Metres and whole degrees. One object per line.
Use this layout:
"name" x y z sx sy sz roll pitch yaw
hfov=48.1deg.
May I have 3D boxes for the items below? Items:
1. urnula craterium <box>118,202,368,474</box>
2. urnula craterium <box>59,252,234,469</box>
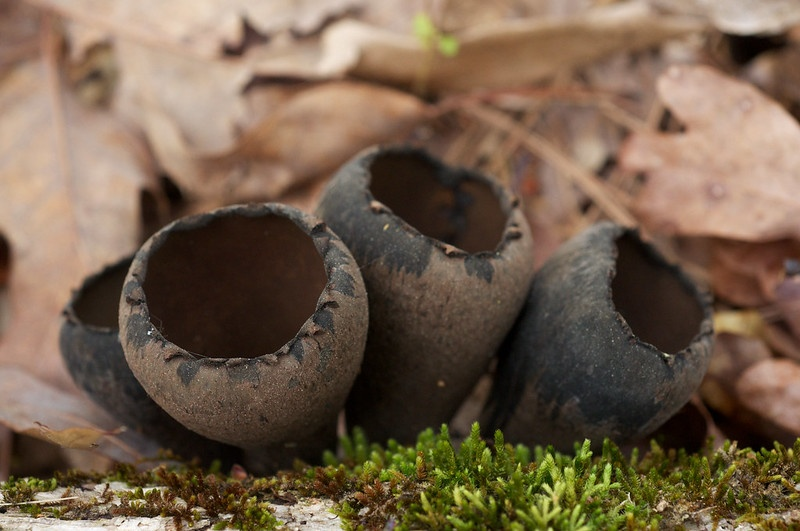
"urnula craterium" -0.431 0.174 2.498 0.666 0.426 0.546 0 53 -3
"urnula craterium" -0.849 0.339 2.985 0.592 0.616 0.456 31 99 4
